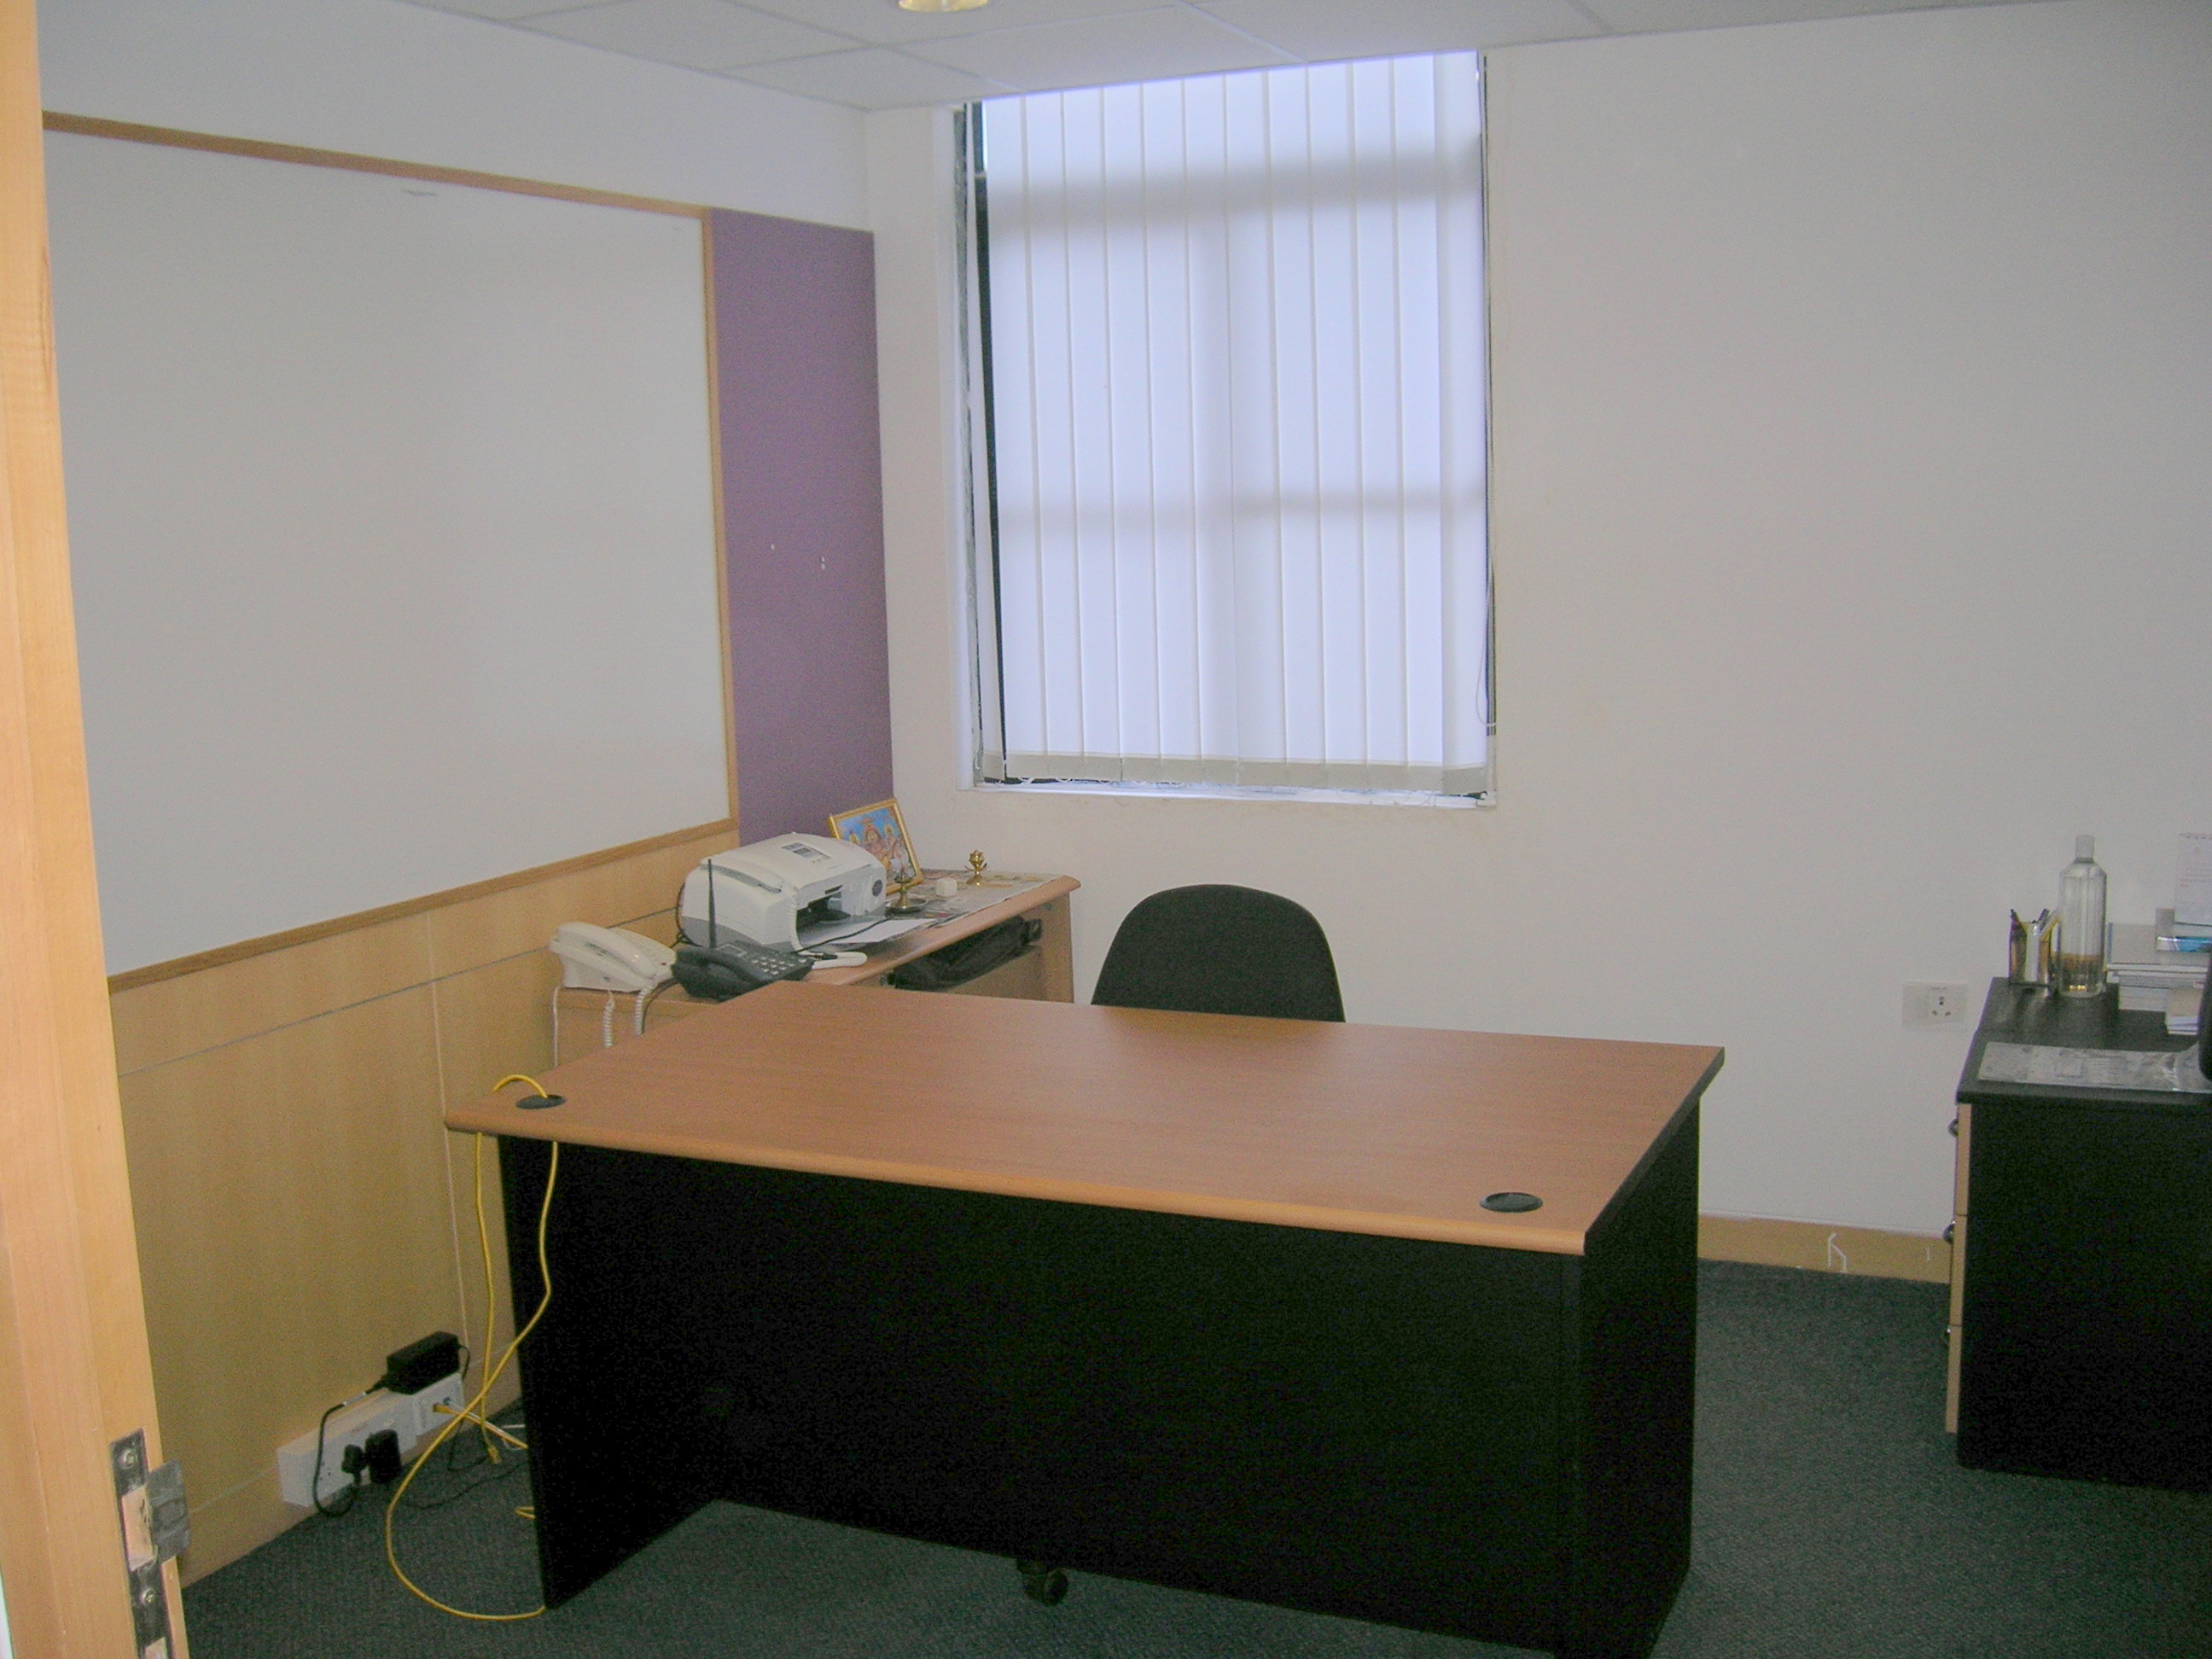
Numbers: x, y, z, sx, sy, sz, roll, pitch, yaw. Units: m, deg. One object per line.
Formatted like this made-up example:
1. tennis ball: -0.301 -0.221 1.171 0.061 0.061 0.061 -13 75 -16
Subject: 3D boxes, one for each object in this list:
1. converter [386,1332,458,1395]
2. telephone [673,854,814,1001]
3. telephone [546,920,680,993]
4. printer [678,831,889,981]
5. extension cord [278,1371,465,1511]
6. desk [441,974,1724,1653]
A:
1. converter: -1.538 1.167 4.026 0.099 0.087 0.179 13 13 18
2. telephone: -0.910 0.241 4.366 0.385 0.377 0.250 -1 12 14
3. telephone: -1.186 0.305 4.252 0.219 0.132 0.179 -8 7 10
4. printer: -0.817 0.157 4.504 0.380 0.341 0.395 9 12 32
5. extension cord: -1.636 1.322 3.931 0.287 0.202 0.191 9 9 24
6. desk: 0.002 0.995 3.447 2.160 1.062 0.843 3 13 21
